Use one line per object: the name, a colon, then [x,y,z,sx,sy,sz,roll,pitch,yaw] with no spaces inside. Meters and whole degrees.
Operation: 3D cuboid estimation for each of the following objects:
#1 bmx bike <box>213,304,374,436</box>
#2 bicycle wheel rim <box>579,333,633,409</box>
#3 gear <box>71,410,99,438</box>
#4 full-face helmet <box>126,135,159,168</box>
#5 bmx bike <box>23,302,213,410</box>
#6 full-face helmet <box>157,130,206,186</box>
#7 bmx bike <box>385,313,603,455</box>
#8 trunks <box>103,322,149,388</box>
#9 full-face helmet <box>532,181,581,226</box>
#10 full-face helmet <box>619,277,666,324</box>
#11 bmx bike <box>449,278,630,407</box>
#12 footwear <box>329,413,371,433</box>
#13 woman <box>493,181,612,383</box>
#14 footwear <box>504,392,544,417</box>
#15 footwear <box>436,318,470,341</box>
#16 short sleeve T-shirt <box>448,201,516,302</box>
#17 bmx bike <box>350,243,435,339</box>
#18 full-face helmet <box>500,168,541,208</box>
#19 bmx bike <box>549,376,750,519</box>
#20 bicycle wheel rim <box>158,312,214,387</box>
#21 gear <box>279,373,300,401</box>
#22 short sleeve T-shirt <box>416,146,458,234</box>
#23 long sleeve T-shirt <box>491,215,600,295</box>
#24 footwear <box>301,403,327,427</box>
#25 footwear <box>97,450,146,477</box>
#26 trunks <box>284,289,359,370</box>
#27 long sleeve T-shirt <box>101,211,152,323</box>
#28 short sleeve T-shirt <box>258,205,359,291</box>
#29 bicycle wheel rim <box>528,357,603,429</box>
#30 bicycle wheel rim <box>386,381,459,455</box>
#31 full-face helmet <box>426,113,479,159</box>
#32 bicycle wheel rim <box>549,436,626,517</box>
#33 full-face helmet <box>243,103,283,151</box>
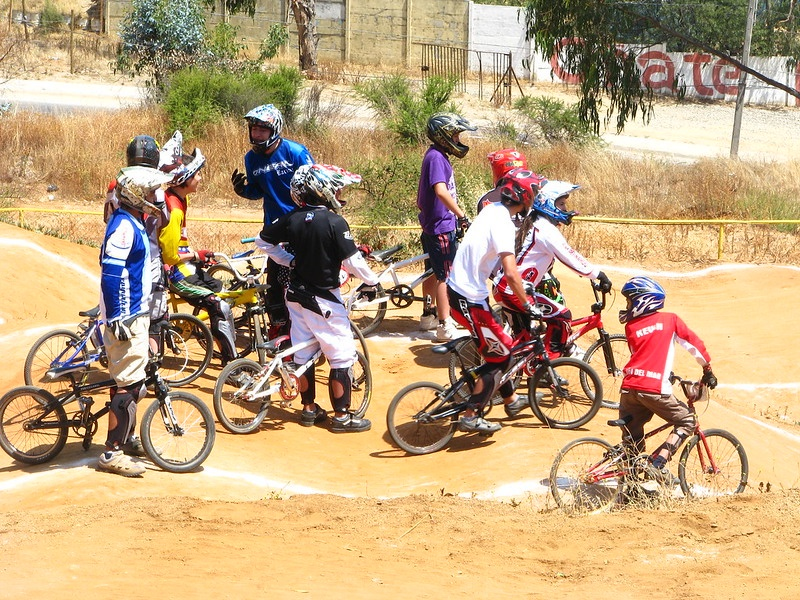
bmx bike: [-1.429,1.021,14.488,2.150,1.577,1.111,-3,5,-21]
bicycle wheel rim: [2.736,0.988,14.699,0.881,0.956,0.222,5,1,-33]
gear: [-3.766,1.483,13.222,0.270,0.410,0.112,3,10,-11]
full-face helmet: [-3.052,-1.765,13.116,0.303,0.365,0.408,2,7,1]
bmx bike: [-3.684,0.684,14.397,2.194,1.544,1.154,-4,4,-12]
full-face helmet: [-2.924,-1.842,14.576,0.396,0.857,0.568,-5,21,-38]
bmx bike: [1.208,1.258,14.027,2.735,1.843,1.399,-11,12,-10]
trunks: [-3.180,0.604,12.791,0.504,0.830,0.267,0,8,-19]
full-face helmet: [2.066,-1.339,14.661,0.614,0.602,0.474,14,0,8]
full-face helmet: [2.954,-0.005,13.340,0.598,0.645,0.462,-2,0,37]
bmx bike: [2.092,0.573,14.743,2.573,1.841,1.337,4,9,-10]
footwear: [-0.637,1.584,14.230,0.493,0.260,0.228,-3,6,-14]
woman: [2.166,-0.315,14.763,1.502,2.661,1.424,-22,25,-37]
footwear: [1.613,1.366,14.356,0.402,0.174,0.136,-32,18,-14]
footwear: [0.785,0.448,15.958,0.538,0.401,0.209,-2,19,-5]
short sleeve T-shirt: [1.037,-0.579,13.717,0.433,1.030,0.913,18,20,-24]
bmx bike: [-0.204,-0.168,16.760,1.693,1.225,0.885,-5,8,-11]
full-face helmet: [1.457,-1.376,13.542,0.468,0.409,0.464,-3,-31,-13]
bmx bike: [3.006,1.760,13.123,2.415,1.732,1.269,-3,11,-7]
bicycle wheel rim: [-3.006,0.613,15.110,1.138,0.249,1.249,7,41,-28]
gear: [-1.400,1.104,13.827,0.279,0.284,0.102,47,9,7]
short sleeve T-shirt: [0.571,-1.546,15.757,0.574,1.291,1.001,4,13,1]
long sleeve T-shirt: [1.984,-0.592,14.434,0.923,0.834,1.278,-11,-3,13]
footwear: [-1.106,1.516,14.418,0.173,0.200,0.405,3,9,27]
footwear: [-3.229,1.903,12.895,0.528,0.276,0.261,8,12,0]
trunks: [-1.065,0.295,13.972,0.685,1.290,0.962,-11,11,-43]
long sleeve T-shirt: [-3.158,-0.346,12.708,0.430,1.138,1.185,0,4,-3]
short sleeve T-shirt: [-1.174,-0.638,13.817,0.972,0.914,0.405,15,28,31]
bicycle wheel rim: [2.163,1.244,14.343,0.975,1.096,0.217,-7,-34,6]
bicycle wheel rim: [0.281,1.506,13.766,0.882,1.068,0.258,0,-34,5]
full-face helmet: [0.788,-2.271,15.612,0.637,0.577,0.476,9,-2,25]
bicycle wheel rim: [2.145,2.033,13.026,0.976,0.871,0.542,0,9,-23]
full-face helmet: [-1.790,-2.314,14.687,0.441,0.520,0.567,7,29,17]
